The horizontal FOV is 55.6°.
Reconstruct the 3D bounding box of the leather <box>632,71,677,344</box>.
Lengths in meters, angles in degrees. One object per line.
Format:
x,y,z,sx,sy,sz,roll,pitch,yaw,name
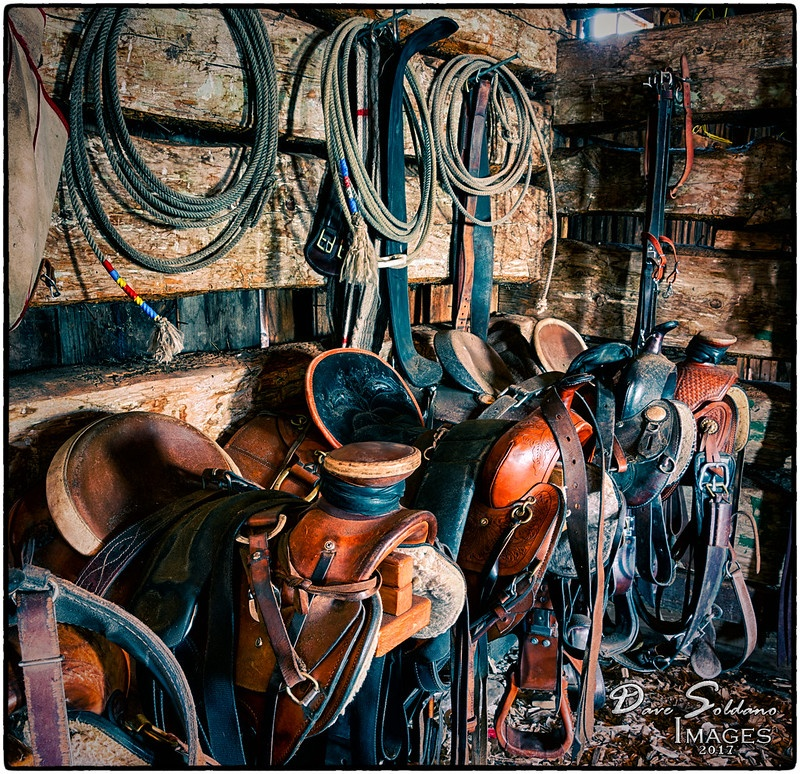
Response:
0.923,-0.652,2.752,0.096,1.011,0.103,3,4,3,leather

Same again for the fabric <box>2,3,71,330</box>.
-0.707,-0.443,1.462,0.086,0.652,0.284,2,4,-17,fabric

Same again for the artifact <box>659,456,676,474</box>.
0.675,0.197,1.921,0.033,0.044,0.016,8,-5,14,artifact

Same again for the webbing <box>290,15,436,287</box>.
-0.083,-0.719,2.190,0.357,0.791,0.311,3,4,-9,webbing

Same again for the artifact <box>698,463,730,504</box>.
0.888,0.272,2.136,0.076,0.108,0.042,6,-12,7,artifact

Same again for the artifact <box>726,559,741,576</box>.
0.997,0.547,2.274,0.050,0.066,0.016,5,-12,-1,artifact

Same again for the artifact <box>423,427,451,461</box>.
0.084,0.130,1.747,0.051,0.019,0.072,0,42,40,artifact

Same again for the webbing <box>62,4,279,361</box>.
-0.558,-0.486,1.735,0.123,0.836,0.495,3,1,44,webbing

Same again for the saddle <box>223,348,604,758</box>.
0.010,0.265,1.382,0.645,0.638,0.256,-5,-8,24,saddle

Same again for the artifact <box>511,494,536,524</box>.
0.263,0.253,1.596,0.039,0.056,0.028,23,-14,31,artifact

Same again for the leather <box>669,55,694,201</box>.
1.061,-0.998,2.806,0.094,0.405,0.253,-1,2,10,leather

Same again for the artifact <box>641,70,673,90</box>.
0.929,-1.121,2.752,0.104,0.082,0.041,-7,-3,11,artifact

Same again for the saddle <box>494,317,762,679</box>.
0.731,0.324,2.106,0.312,0.996,0.950,7,-6,-40,saddle

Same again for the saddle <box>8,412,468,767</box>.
-0.279,0.360,1.456,0.653,0.350,0.824,7,13,6,saddle
